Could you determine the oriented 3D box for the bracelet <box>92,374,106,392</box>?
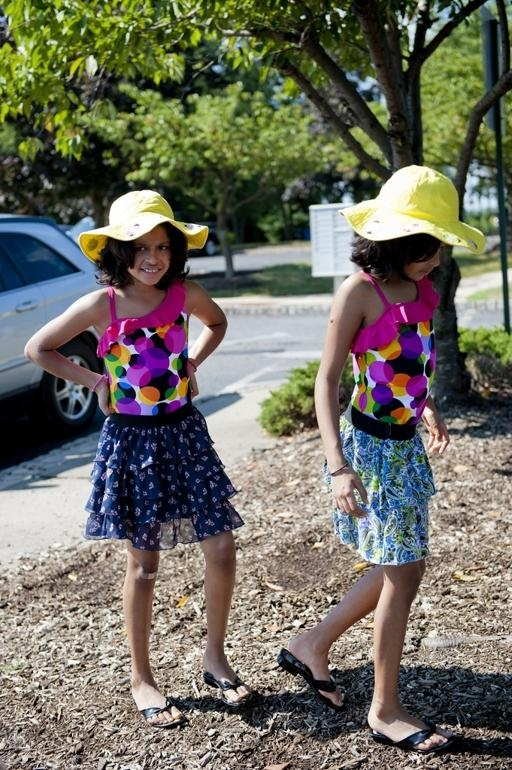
[{"bbox_3d":[-0.468,-0.007,2.359,0.045,0.013,0.048,-48,0,7],"label":"bracelet"}]

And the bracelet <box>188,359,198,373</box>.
[{"bbox_3d":[-0.197,-0.058,2.578,0.024,0.041,0.035,-24,13,-9],"label":"bracelet"}]

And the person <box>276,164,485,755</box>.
[{"bbox_3d":[0.428,0.193,2.202,0.558,1.560,0.415,-12,12,-19],"label":"person"}]

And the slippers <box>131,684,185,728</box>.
[{"bbox_3d":[-0.284,0.969,2.372,0.117,0.061,0.136,-10,11,-23],"label":"slippers"}]

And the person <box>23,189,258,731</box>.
[{"bbox_3d":[-0.295,0.192,2.456,0.629,1.575,0.500,-13,13,-26],"label":"person"}]

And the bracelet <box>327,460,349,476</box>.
[{"bbox_3d":[0.212,0.213,2.048,0.045,0.013,0.036,-25,4,-5],"label":"bracelet"}]

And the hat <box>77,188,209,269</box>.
[{"bbox_3d":[-0.356,-0.503,2.445,0.359,0.222,0.438,-3,10,20],"label":"hat"}]

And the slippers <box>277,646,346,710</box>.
[{"bbox_3d":[0.166,0.903,2.462,0.063,0.233,0.092,-50,-17,0],"label":"slippers"}]

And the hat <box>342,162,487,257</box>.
[{"bbox_3d":[0.444,-0.511,2.174,0.393,0.183,0.411,26,29,33],"label":"hat"}]
